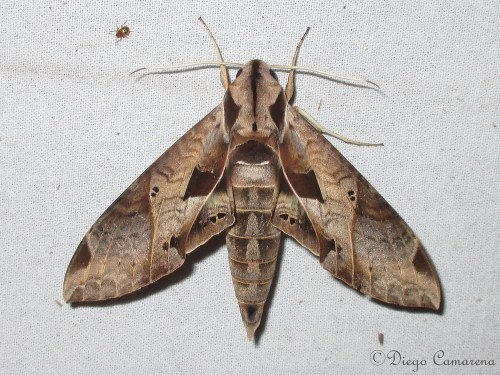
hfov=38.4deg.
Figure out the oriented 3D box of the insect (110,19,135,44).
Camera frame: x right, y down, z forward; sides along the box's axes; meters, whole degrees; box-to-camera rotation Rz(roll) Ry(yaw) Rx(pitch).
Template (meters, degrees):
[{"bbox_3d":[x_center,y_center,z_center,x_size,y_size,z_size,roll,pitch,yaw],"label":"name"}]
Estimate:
[{"bbox_3d":[-0.575,-0.701,3.189,0.083,0.026,0.091,11,99,-1],"label":"insect"}]
